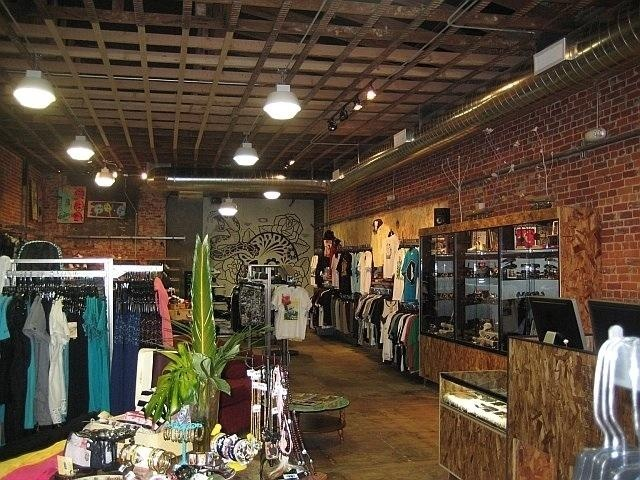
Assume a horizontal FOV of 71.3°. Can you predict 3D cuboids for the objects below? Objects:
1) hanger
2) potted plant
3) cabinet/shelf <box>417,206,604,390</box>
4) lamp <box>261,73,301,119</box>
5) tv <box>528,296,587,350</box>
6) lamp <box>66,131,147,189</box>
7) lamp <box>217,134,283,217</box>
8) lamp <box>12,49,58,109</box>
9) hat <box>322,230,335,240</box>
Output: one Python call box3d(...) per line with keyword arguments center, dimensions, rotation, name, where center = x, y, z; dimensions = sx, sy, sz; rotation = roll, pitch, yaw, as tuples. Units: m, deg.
box3d(center=(-2.471, 0.461, 4.697), dimensions=(1.388, 0.518, 0.626), rotation=(1, -3, -17), name="hanger")
box3d(center=(-0.600, 0.538, 2.425), dimensions=(0.593, 1.152, 0.374), rotation=(1, -2, -7), name="potted plant")
box3d(center=(2.526, 0.962, 6.373), dimensions=(0.756, 2.622, 2.867), rotation=(1, -3, -21), name="cabinet/shelf")
box3d(center=(-0.440, -1.648, 5.081), dimensions=(0.377, 0.476, 0.453), rotation=(1, -2, -11), name="lamp")
box3d(center=(1.686, 0.583, 3.235), dimensions=(0.110, 0.337, 0.455), rotation=(1, -3, -14), name="tv")
box3d(center=(-4.977, -1.895, 10.405), dimensions=(0.961, 1.544, 1.116), rotation=(2, 4, 34), name="lamp")
box3d(center=(-1.785, -1.618, 10.994), dimensions=(1.482, 1.434, 0.382), rotation=(0, 7, -2), name="lamp")
box3d(center=(-3.014, -1.651, 4.736), dimensions=(0.340, 0.357, 0.424), rotation=(2, -3, -40), name="lamp")
box3d(center=(0.260, -0.154, 13.407), dimensions=(0.296, 0.279, 0.294), rotation=(1, -3, 2), name="hat")
